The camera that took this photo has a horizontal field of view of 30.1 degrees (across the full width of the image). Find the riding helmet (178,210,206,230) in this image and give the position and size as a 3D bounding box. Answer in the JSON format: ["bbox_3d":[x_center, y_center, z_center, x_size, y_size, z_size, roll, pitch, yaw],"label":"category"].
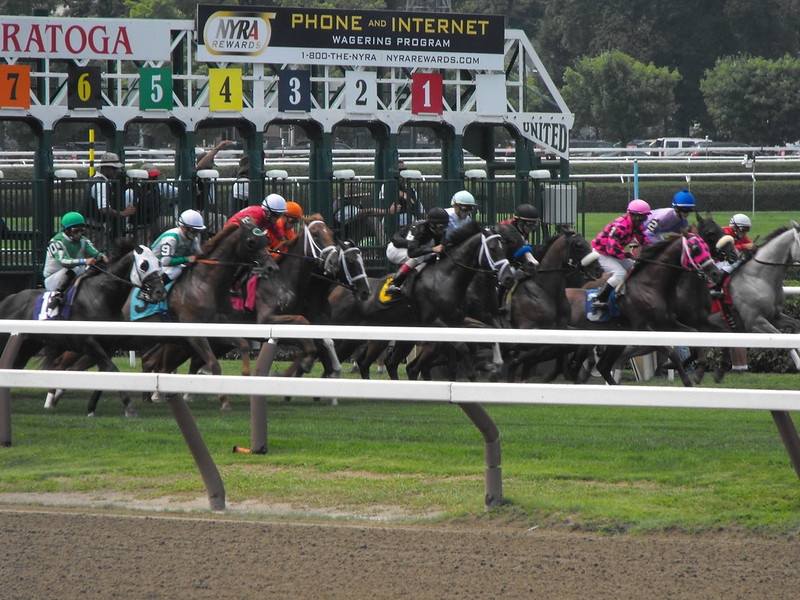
[{"bbox_3d":[-1.942,-0.762,14.058,0.225,0.124,0.173,2,17,9],"label":"riding helmet"}]

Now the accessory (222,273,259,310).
[{"bbox_3d":[-1.505,-0.065,14.232,0.115,0.358,0.246,14,0,-41],"label":"accessory"}]

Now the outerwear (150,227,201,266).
[{"bbox_3d":[-2.102,-0.499,14.195,0.341,0.167,0.354,15,-39,-2],"label":"outerwear"}]

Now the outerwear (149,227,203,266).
[{"bbox_3d":[-2.104,-0.503,14.254,0.344,0.169,0.358,15,-37,-2],"label":"outerwear"}]

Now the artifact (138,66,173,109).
[{"bbox_3d":[-2.872,-2.494,17.667,0.399,0.514,0.266,-2,9,-11],"label":"artifact"}]

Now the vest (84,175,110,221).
[{"bbox_3d":[-3.373,-1.118,16.688,0.268,0.511,0.528,4,2,1],"label":"vest"}]

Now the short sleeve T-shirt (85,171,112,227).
[{"bbox_3d":[-3.402,-1.125,16.871,0.288,0.613,0.620,-7,7,-23],"label":"short sleeve T-shirt"}]

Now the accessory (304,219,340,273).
[{"bbox_3d":[-0.742,-0.517,14.175,0.284,0.486,0.203,-2,-19,-16],"label":"accessory"}]

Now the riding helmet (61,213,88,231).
[{"bbox_3d":[-3.051,-0.742,13.980,0.226,0.199,0.186,14,16,30],"label":"riding helmet"}]

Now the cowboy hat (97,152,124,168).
[{"bbox_3d":[-3.271,-1.581,16.901,0.211,0.116,0.206,8,8,3],"label":"cowboy hat"}]

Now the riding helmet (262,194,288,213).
[{"bbox_3d":[-1.207,-0.924,14.483,0.206,0.117,0.157,-3,34,-4],"label":"riding helmet"}]

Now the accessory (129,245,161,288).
[{"bbox_3d":[-2.328,-0.325,13.883,0.340,0.358,0.267,-9,-8,37],"label":"accessory"}]

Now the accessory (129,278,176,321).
[{"bbox_3d":[-2.298,0.024,13.958,0.405,0.318,0.270,-4,3,3],"label":"accessory"}]
